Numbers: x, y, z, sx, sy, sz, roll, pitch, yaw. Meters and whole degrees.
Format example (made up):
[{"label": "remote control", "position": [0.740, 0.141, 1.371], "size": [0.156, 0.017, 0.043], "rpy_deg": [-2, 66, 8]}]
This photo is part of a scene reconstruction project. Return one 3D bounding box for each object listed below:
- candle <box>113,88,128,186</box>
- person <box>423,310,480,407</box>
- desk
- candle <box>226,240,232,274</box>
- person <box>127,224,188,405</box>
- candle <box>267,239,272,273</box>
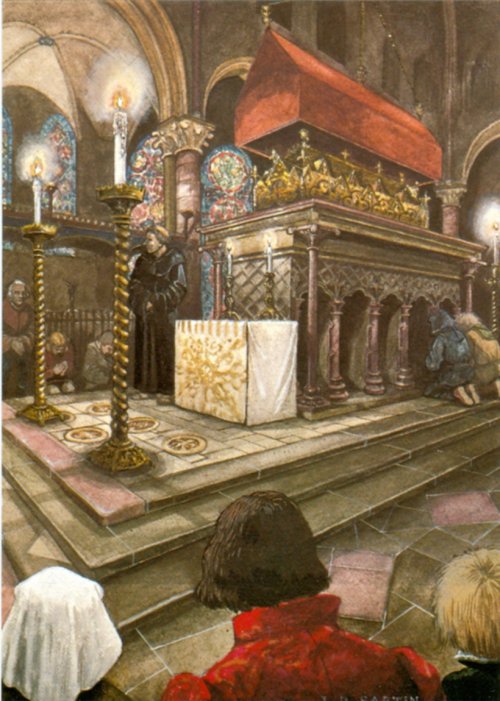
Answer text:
[{"label": "candle", "position": [-0.750, -1.203, 3.462], "size": [0.075, 0.398, 0.122], "rpy_deg": [1, 0, -17]}, {"label": "person", "position": [2.103, 0.052, 6.287], "size": [0.660, 0.975, 0.529], "rpy_deg": [1, 0, 36]}, {"label": "desk", "position": [-0.284, 0.167, 5.265], "size": [0.846, 1.015, 1.405], "rpy_deg": [-1, 4, -41]}, {"label": "candle", "position": [-0.218, -0.952, 6.281], "size": [0.065, 0.280, 0.181], "rpy_deg": [1, 0, 0]}, {"label": "person", "position": [-0.981, -0.364, 6.069], "size": [0.409, 1.283, 0.728], "rpy_deg": [1, 0, -33]}, {"label": "candle", "position": [0.181, -0.876, 5.711], "size": [0.045, 0.253, 0.113], "rpy_deg": [1, 0, -15]}]
